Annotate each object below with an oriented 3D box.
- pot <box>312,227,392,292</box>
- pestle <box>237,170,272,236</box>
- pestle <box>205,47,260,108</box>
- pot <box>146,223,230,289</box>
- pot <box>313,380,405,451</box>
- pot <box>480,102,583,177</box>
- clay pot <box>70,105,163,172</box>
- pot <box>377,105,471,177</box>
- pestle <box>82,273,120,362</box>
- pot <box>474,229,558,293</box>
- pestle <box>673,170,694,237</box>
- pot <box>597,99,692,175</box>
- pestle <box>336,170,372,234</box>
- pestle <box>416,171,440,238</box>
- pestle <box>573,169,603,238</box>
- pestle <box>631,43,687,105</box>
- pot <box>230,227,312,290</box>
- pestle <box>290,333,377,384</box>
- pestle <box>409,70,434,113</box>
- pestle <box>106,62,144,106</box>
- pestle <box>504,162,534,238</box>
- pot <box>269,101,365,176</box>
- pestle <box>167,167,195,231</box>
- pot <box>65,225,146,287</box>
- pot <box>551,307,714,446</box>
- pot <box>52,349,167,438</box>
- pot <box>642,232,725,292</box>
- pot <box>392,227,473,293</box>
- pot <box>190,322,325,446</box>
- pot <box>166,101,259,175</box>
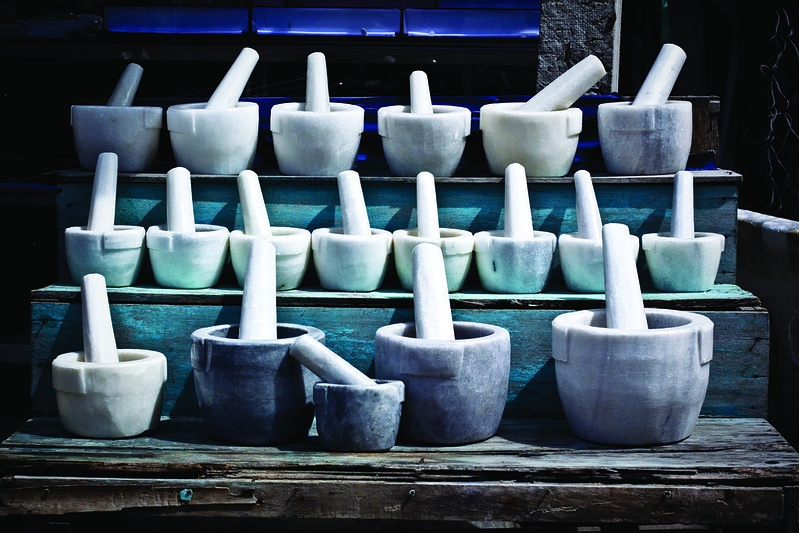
[{"bbox_3d":[-0.151,-0.007,2.361,0.352,0.142,0.318,-1,0,-6],"label":"pot"},{"bbox_3d":[-0.416,-0.179,2.284,0.073,0.205,0.061,-13,-2,6],"label":"pestle"},{"bbox_3d":[-0.505,-0.561,2.419,0.113,0.194,0.183,5,10,23],"label":"pestle"},{"bbox_3d":[-0.628,-0.033,2.380,0.256,0.146,0.238,5,12,-1],"label":"pot"},{"bbox_3d":[-0.104,0.369,2.073,0.206,0.124,0.211,-3,-5,0],"label":"pot"},{"bbox_3d":[0.387,-0.376,2.465,0.315,0.167,0.284,7,13,28],"label":"pot"},{"bbox_3d":[-0.848,-0.379,2.410,0.282,0.164,0.218,0,3,-20],"label":"clay pot"},{"bbox_3d":[0.068,-0.381,2.457,0.287,0.174,0.280,1,18,0],"label":"pot"},{"bbox_3d":[-0.800,0.141,2.158,0.081,0.228,0.097,-3,10,-20],"label":"pestle"},{"bbox_3d":[0.334,-0.004,2.358,0.272,0.151,0.242,3,5,11],"label":"pot"},{"bbox_3d":[0.811,-0.169,2.286,0.057,0.198,0.052,-7,9,-7],"label":"pestle"},{"bbox_3d":[0.753,-0.389,2.485,0.315,0.185,0.294,-2,11,0],"label":"pot"},{"bbox_3d":[-0.128,-0.180,2.304,0.093,0.178,0.133,0,9,-3],"label":"pestle"},{"bbox_3d":[0.080,-0.172,2.292,0.065,0.183,0.145,1,9,1],"label":"pestle"},{"bbox_3d":[0.531,-0.172,2.288,0.082,0.189,0.126,3,9,12],"label":"pestle"},{"bbox_3d":[0.769,-0.569,2.417,0.114,0.188,0.203,6,10,31],"label":"pestle"},{"bbox_3d":[-0.379,-0.006,2.363,0.233,0.140,0.232,1,3,0],"label":"pot"},{"bbox_3d":[-0.168,0.237,2.054,0.216,0.118,0.061,3,10,16],"label":"pestle"},{"bbox_3d":[0.064,-0.518,2.421,0.057,0.186,0.050,-3,-35,-10],"label":"pestle"},{"bbox_3d":[-0.839,-0.554,2.496,0.092,0.139,0.220,-1,8,-7],"label":"pestle"},{"bbox_3d":[0.338,-0.184,2.287,0.083,0.203,0.142,2,9,8],"label":"pestle"},{"bbox_3d":[-0.266,-0.390,2.470,0.378,0.173,0.339,-3,17,-16],"label":"pot"},{"bbox_3d":[-0.627,-0.190,2.315,0.075,0.180,0.131,-2,9,-15],"label":"pestle"},{"bbox_3d":[-0.852,-0.022,2.373,0.242,0.138,0.209,1,1,1],"label":"pot"},{"bbox_3d":[0.631,0.305,2.229,0.491,0.274,0.465,-1,5,0],"label":"pot"},{"bbox_3d":[-0.774,0.328,2.160,0.255,0.143,0.256,-2,-3,0],"label":"pot"},{"bbox_3d":[0.811,-0.003,2.341,0.240,0.130,0.218,-3,2,-6],"label":"pot"},{"bbox_3d":[0.103,-0.029,2.270,0.219,0.123,0.201,1,8,0],"label":"pot"},{"bbox_3d":[-0.379,0.323,2.229,0.375,0.246,0.377,1,3,0],"label":"pot"},{"bbox_3d":[-0.564,-0.388,2.479,0.387,0.177,0.348,-3,16,-16],"label":"pot"}]
